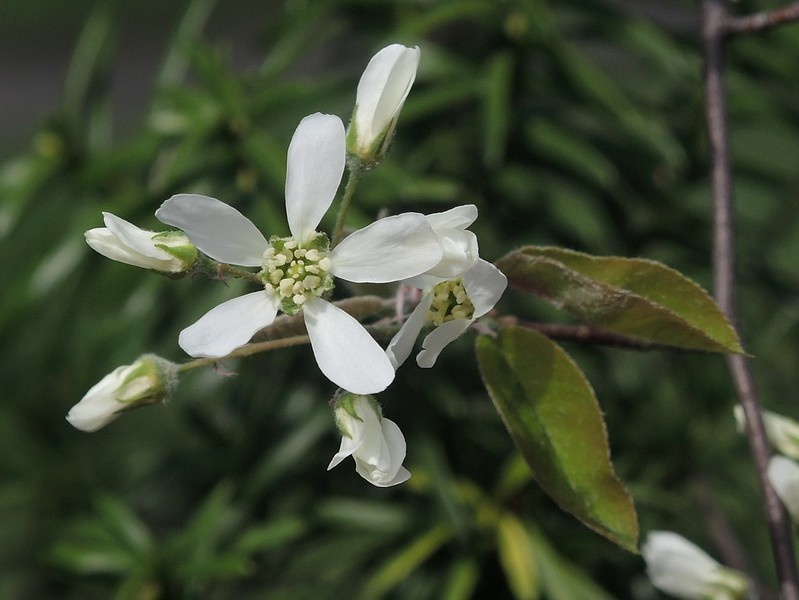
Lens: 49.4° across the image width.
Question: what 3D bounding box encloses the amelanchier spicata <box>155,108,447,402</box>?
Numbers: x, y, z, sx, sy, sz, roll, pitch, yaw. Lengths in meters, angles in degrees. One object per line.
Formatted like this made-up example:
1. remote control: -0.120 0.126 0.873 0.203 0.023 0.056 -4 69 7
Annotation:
1. amelanchier spicata: -0.155 -0.037 1.332 0.399 0.280 0.332 -31 46 -16

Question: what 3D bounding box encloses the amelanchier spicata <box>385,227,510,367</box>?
1. amelanchier spicata: 0.080 -0.010 1.385 0.102 0.253 0.219 10 56 -22
